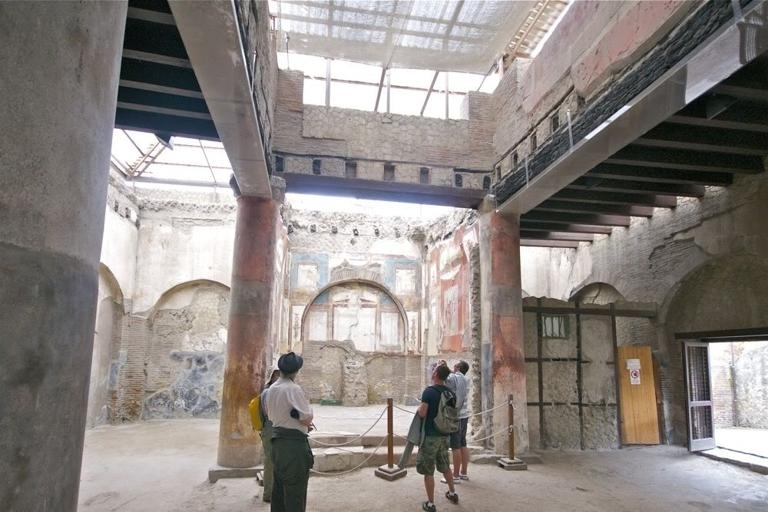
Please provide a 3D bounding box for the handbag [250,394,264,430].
[{"bbox_3d":[-1.463,1.810,5.999,0.147,0.408,0.371,2,-8,-13],"label":"handbag"}]

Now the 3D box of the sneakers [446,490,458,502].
[{"bbox_3d":[0.923,3.255,7.077,0.077,0.092,0.205,3,-10,-9],"label":"sneakers"}]

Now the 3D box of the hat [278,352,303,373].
[{"bbox_3d":[-1.012,1.160,5.650,0.246,0.246,0.091,14,-6,-5],"label":"hat"}]

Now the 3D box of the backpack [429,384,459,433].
[{"bbox_3d":[0.821,2.000,6.676,0.257,0.513,0.470,4,-9,38],"label":"backpack"}]
